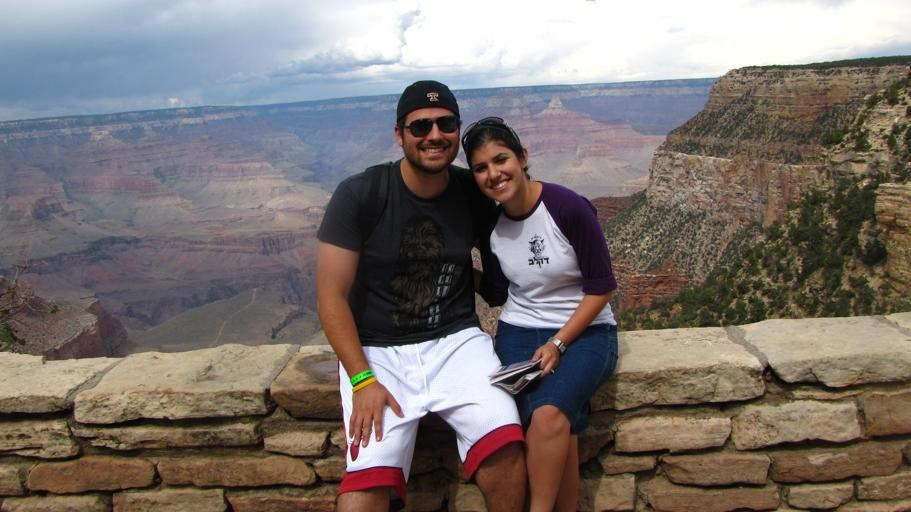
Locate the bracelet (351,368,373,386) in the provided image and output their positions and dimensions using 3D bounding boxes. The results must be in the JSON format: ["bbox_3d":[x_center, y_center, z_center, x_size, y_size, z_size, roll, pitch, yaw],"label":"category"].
[{"bbox_3d":[-0.816,1.080,5.683,0.196,0.111,0.174,-21,-5,-31],"label":"bracelet"}]
